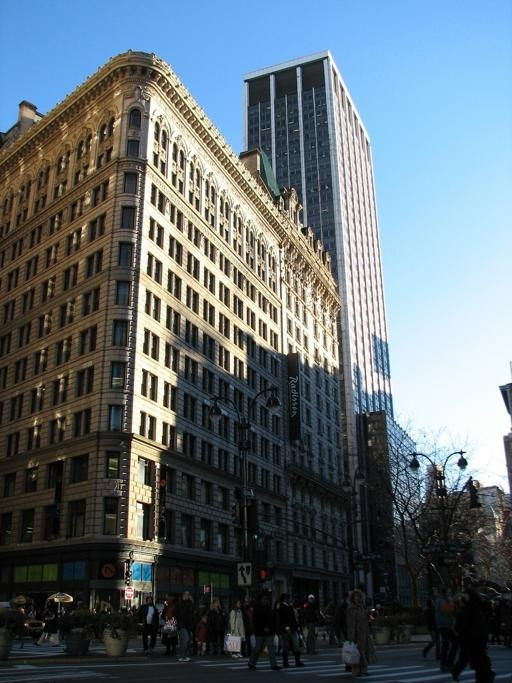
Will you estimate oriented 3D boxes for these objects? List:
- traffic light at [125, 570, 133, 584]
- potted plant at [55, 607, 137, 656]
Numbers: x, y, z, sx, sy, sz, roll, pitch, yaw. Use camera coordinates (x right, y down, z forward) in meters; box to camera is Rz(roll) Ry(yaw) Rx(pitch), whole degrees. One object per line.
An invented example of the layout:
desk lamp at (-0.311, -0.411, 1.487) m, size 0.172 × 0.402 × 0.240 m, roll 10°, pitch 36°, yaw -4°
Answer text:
traffic light at (-6.976, 12.845, 37.829) m, size 0.213 × 0.859 × 0.621 m, roll -9°, pitch -23°, yaw 12°
potted plant at (-4.308, 7.858, 18.814) m, size 2.187 × 1.372 × 1.529 m, roll -4°, pitch -32°, yaw 7°
